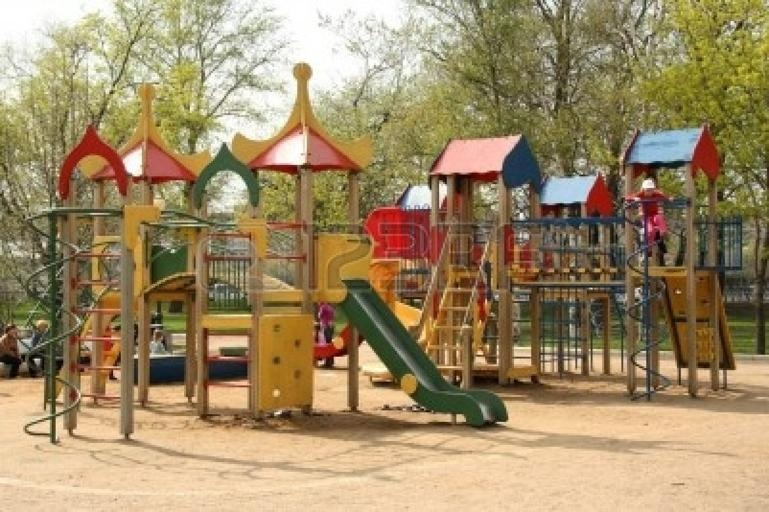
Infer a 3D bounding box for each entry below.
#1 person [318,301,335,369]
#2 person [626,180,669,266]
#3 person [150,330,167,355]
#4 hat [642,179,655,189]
[{"bbox_3d":[-1.857,2.167,32.726,0.524,1.241,1.309,0,-7,-3],"label":"person"},{"bbox_3d":[6.837,-0.902,26.609,1.110,2.092,1.268,-1,20,22],"label":"person"},{"bbox_3d":[-6.796,2.564,30.978,0.490,0.728,1.190,1,-7,-12],"label":"person"},{"bbox_3d":[6.705,-1.836,26.208,0.376,0.279,0.588,-1,-4,15],"label":"hat"}]
